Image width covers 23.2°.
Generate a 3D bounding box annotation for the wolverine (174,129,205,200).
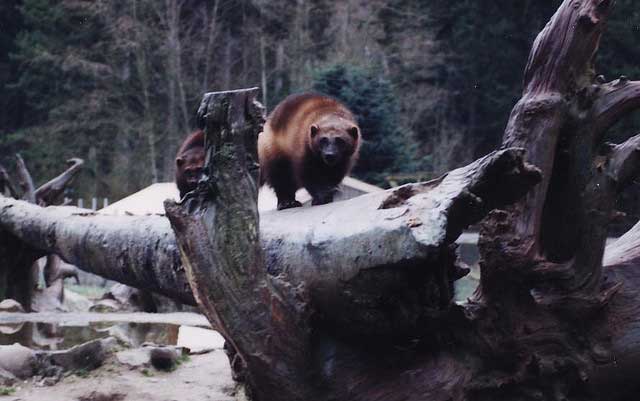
[{"bbox_3d":[-4.088,-1.072,49.338,0.829,1.231,2.559,3,54,6],"label":"wolverine"}]
